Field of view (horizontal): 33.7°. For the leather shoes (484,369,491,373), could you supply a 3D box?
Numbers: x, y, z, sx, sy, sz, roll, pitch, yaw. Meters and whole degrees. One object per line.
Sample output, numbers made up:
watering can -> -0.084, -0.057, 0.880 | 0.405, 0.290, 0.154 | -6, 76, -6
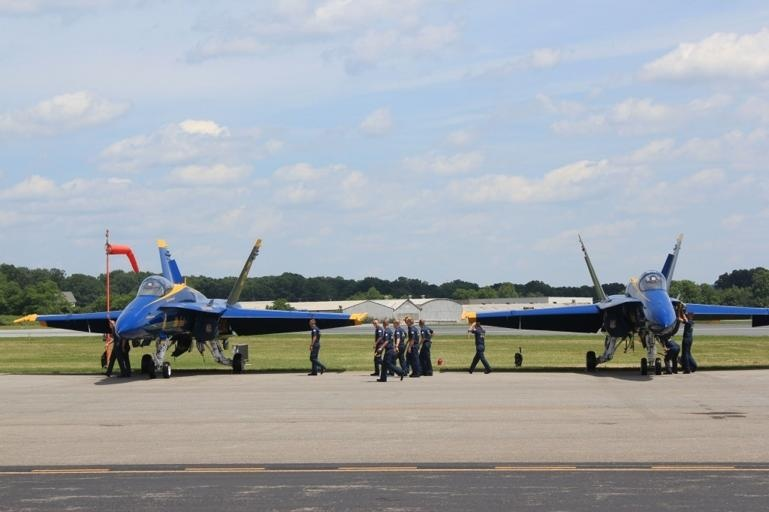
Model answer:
leather shoes -> 4.007, 4.334, 47.179 | 0.223, 0.162, 0.345 | -3, -4, -2

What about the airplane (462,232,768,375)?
airplane -> 8.996, 2.269, 48.393 | 10.182, 3.363, 7.263 | -1, -5, 2

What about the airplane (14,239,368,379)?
airplane -> -7.535, 2.473, 48.188 | 10.767, 3.156, 7.666 | -2, -6, 15
